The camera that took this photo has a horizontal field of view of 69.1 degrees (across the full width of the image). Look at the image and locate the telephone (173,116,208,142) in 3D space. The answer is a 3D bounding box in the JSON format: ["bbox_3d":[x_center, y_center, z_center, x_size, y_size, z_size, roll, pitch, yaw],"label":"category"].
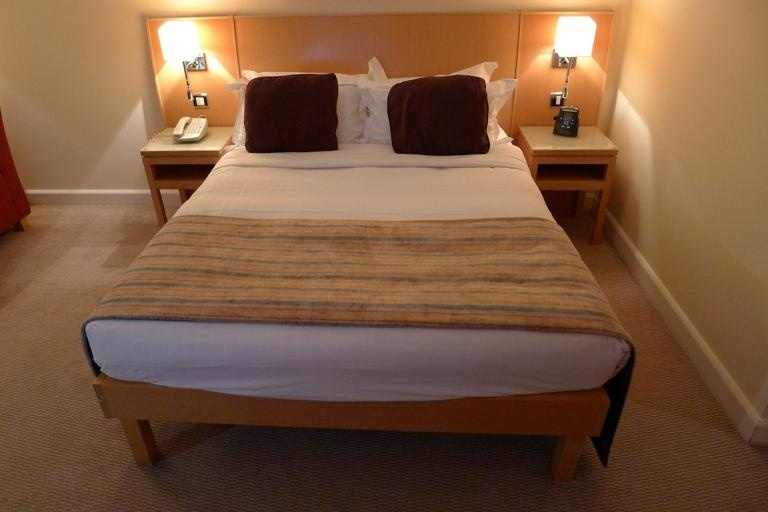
[{"bbox_3d":[-1.560,-1.045,4.532,0.198,0.108,0.257,1,53,7],"label":"telephone"}]

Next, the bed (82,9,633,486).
[{"bbox_3d":[-0.076,0.277,3.442,2.636,1.175,1.689,0,29,4],"label":"bed"}]
